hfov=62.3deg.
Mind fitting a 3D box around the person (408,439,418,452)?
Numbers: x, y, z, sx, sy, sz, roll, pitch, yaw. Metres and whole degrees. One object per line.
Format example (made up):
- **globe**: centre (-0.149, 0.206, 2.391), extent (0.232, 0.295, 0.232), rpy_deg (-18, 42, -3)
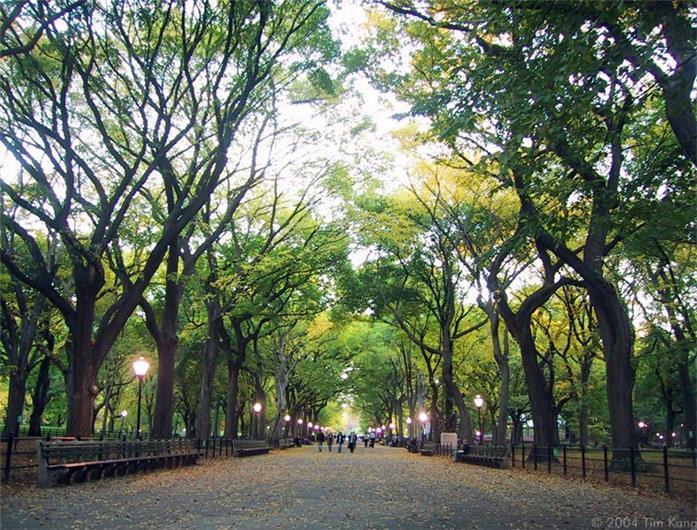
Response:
- **person**: centre (5.289, 14.888, 47.522), extent (0.866, 1.220, 0.895), rpy_deg (-2, -26, 14)
